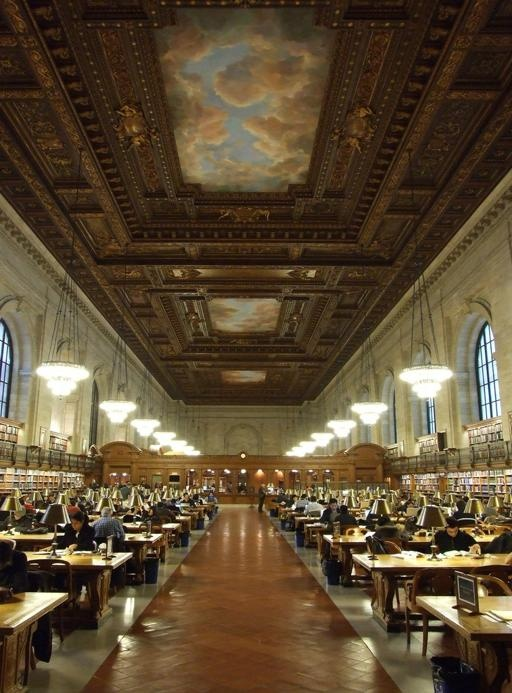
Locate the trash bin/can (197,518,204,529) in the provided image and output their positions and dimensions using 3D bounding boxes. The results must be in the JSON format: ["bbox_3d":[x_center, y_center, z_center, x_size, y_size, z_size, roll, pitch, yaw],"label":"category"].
[{"bbox_3d":[-1.966,6.558,17.196,0.344,0.373,0.304,0,-11,-4],"label":"trash bin/can"}]

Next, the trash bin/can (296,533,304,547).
[{"bbox_3d":[1.167,5.056,12.148,0.272,0.326,0.246,1,-15,0],"label":"trash bin/can"}]

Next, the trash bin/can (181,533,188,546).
[{"bbox_3d":[-1.778,5.001,12.091,0.274,0.346,0.265,1,-12,-2],"label":"trash bin/can"}]
